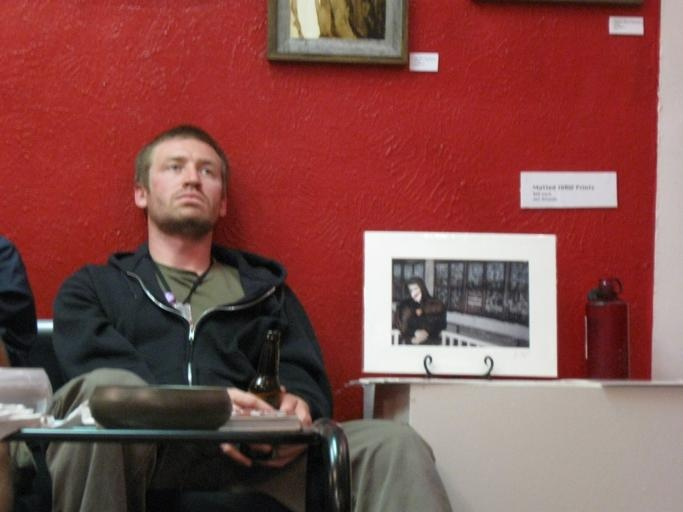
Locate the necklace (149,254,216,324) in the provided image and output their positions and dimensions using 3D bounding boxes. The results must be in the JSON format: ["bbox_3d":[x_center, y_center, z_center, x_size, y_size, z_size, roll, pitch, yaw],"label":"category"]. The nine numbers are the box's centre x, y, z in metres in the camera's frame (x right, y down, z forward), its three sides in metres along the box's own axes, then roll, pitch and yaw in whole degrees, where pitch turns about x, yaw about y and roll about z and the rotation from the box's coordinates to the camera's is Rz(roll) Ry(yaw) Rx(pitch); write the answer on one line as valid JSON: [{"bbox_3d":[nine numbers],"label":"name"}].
[{"bbox_3d":[-0.505,0.106,2.295,0.116,0.059,0.215,5,36,-24],"label":"necklace"}]

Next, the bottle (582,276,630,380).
[{"bbox_3d":[0.879,0.241,2.448,0.132,0.324,0.111,0,-2,20],"label":"bottle"}]

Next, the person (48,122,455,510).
[{"bbox_3d":[-0.254,0.341,2.509,0.820,1.537,1.150,7,-26,-28],"label":"person"}]
